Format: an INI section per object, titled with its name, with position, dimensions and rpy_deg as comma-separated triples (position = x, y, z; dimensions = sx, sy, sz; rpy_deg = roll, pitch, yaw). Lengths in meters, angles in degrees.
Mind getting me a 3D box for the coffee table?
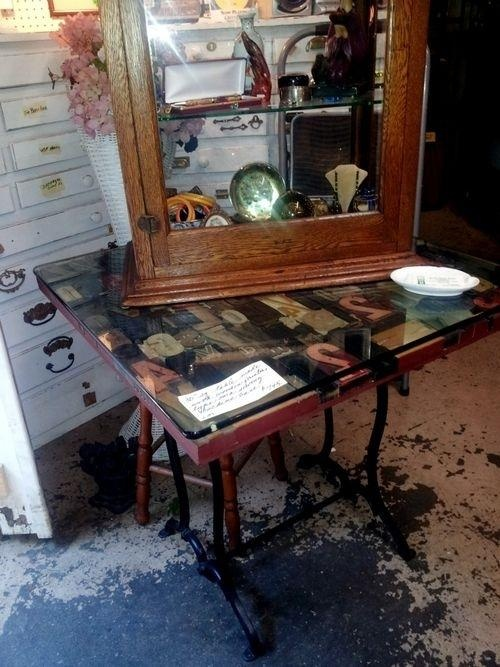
[coffee table]
position = 0.062, 0.219, 1.458
dimensions = 0.892, 0.821, 0.988
rpy_deg = -19, 30, -26
